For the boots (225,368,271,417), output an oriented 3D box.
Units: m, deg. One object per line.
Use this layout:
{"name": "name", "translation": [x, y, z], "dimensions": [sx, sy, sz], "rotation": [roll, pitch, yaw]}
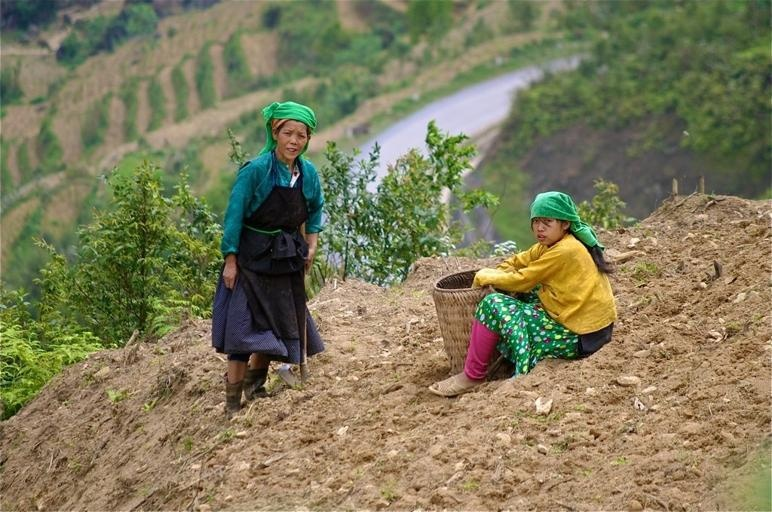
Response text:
{"name": "boots", "translation": [-1.660, 1.635, 13.806], "dimensions": [0.538, 0.693, 0.523], "rotation": [2, -2, -1]}
